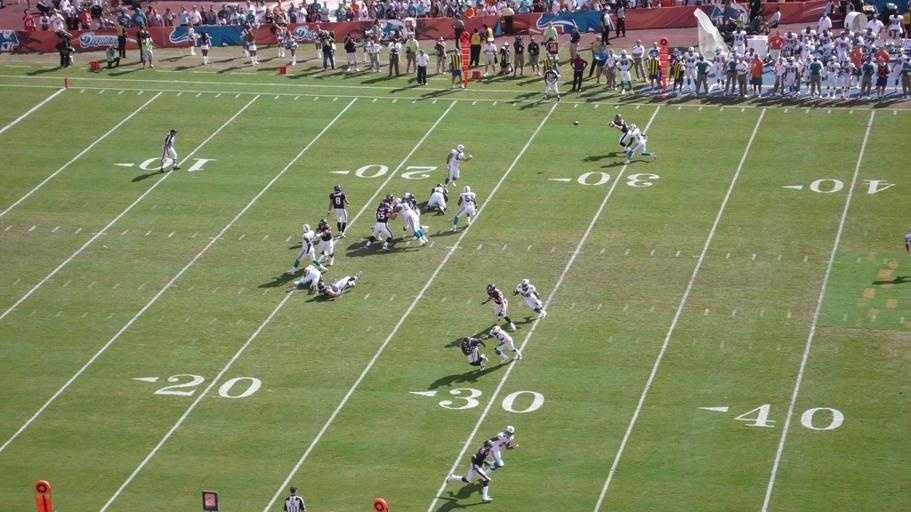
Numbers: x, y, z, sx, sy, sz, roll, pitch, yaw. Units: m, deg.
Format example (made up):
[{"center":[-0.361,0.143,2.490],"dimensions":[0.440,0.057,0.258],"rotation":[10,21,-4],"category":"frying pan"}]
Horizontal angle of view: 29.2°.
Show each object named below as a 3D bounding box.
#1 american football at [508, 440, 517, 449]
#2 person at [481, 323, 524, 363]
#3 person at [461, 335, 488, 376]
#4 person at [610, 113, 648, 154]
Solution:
[{"center":[2.108,6.769,63.065],"dimensions":[0.278,0.131,0.395],"rotation":[16,22,42],"category":"american football"},{"center":[1.878,3.253,66.879],"dimensions":[1.115,1.488,0.902],"rotation":[-15,22,-14],"category":"person"},{"center":[0.725,3.622,66.546],"dimensions":[0.873,1.409,0.956],"rotation":[-10,21,0],"category":"person"},{"center":[7.611,-5.293,76.962],"dimensions":[1.939,1.856,0.992],"rotation":[-10,47,14],"category":"person"}]
